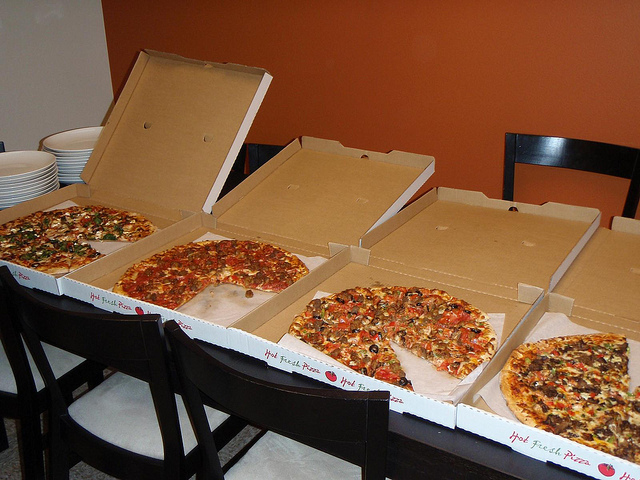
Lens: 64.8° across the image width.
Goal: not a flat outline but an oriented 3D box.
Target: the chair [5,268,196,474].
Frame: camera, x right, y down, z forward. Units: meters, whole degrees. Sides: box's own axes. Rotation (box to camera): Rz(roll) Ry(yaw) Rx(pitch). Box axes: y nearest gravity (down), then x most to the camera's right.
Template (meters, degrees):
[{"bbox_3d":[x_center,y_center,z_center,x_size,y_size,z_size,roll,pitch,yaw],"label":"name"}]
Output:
[{"bbox_3d":[-0.732,0.436,1.685,0.393,0.709,0.466,20,45,5],"label":"chair"}]
